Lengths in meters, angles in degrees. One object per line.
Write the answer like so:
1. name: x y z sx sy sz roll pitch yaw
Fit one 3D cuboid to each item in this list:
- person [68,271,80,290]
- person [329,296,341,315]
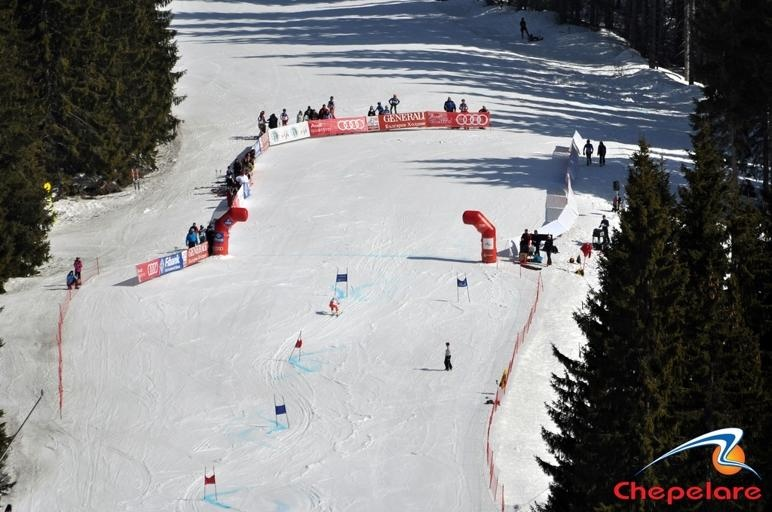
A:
1. person: -16.894 1.277 58.955 0.490 0.860 0.734 -4 26 3
2. person: -2.673 2.556 56.562 0.451 0.879 0.310 -3 1 15
